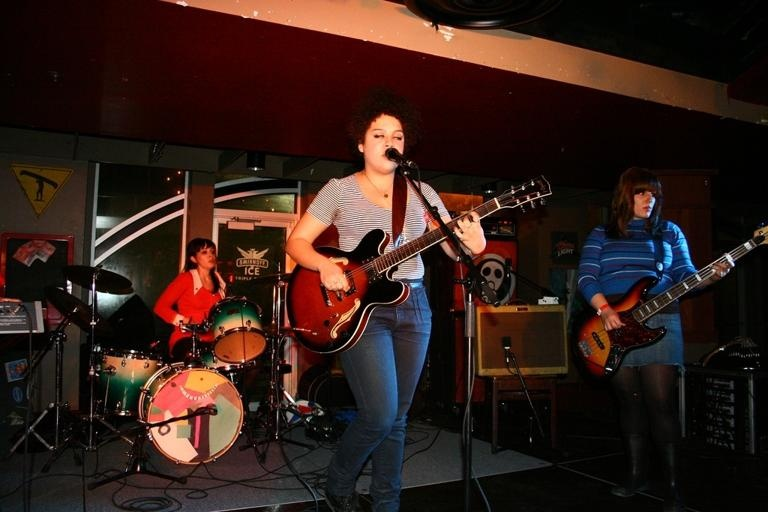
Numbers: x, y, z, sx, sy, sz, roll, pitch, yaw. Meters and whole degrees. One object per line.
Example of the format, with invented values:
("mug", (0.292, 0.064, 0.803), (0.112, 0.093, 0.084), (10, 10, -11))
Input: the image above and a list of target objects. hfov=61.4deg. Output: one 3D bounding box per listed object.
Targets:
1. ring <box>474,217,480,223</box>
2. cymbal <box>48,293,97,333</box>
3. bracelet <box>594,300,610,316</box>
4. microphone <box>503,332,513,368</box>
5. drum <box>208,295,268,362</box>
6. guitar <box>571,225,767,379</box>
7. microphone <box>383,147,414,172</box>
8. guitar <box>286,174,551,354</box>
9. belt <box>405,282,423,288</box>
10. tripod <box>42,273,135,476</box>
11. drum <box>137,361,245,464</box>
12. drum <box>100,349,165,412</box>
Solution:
("ring", (0.717, -0.270, 4.900), (0.017, 0.030, 0.104), (3, 3, 17))
("cymbal", (-3.076, 0.536, 6.410), (0.462, 0.455, 0.299), (2, 2, -26))
("bracelet", (1.941, 0.464, 5.733), (0.112, 0.027, 0.083), (-46, -34, 17))
("microphone", (1.392, 1.063, 7.209), (0.140, 0.312, 0.077), (0, -7, -8))
("drum", (-1.665, 0.666, 7.170), (0.389, 0.381, 0.394), (-12, 1, -41))
("guitar", (2.460, 0.515, 5.774), (1.358, 1.165, 0.489), (3, 2, -6))
("microphone", (0.127, -0.757, 5.066), (0.100, 0.114, 0.333), (-28, 21, -6))
("guitar", (0.213, 0.044, 5.372), (2.433, 1.012, 0.257), (-30, -7, 5))
("belt", (0.251, 0.230, 5.038), (0.095, 0.053, 0.098), (-18, -15, 40))
("tripod", (-2.901, 1.148, 6.437), (1.018, 1.877, 0.883), (1, 5, -22))
("drum", (-1.883, 1.562, 6.498), (0.954, 0.925, 0.605), (1, 1, -29))
("drum", (-2.540, 1.250, 6.642), (0.552, 0.563, 0.565), (2, -1, -15))
